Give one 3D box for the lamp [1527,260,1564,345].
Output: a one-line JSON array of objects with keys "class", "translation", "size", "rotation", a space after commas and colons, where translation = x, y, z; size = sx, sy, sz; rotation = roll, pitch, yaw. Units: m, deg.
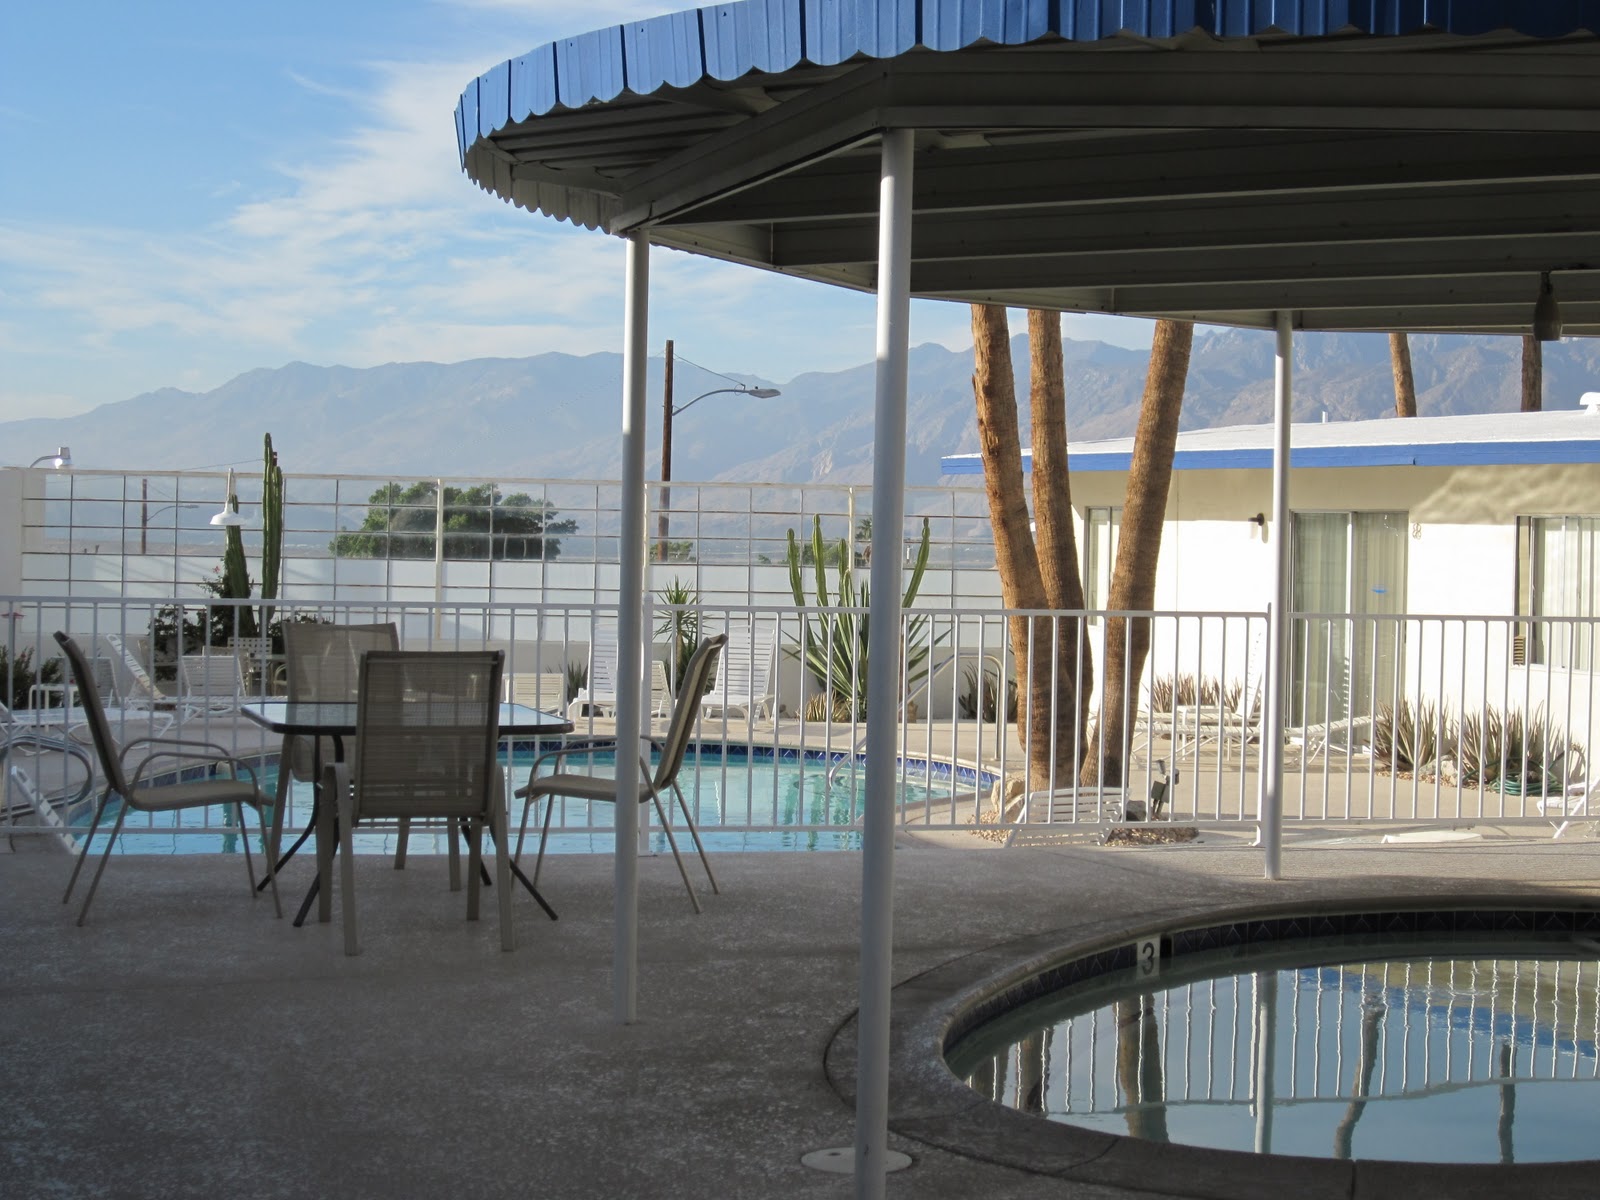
[{"class": "lamp", "translation": [3.379, -1.325, 8.355], "size": [0.106, 0.303, 0.679], "rotation": [1, 1, 22]}]
